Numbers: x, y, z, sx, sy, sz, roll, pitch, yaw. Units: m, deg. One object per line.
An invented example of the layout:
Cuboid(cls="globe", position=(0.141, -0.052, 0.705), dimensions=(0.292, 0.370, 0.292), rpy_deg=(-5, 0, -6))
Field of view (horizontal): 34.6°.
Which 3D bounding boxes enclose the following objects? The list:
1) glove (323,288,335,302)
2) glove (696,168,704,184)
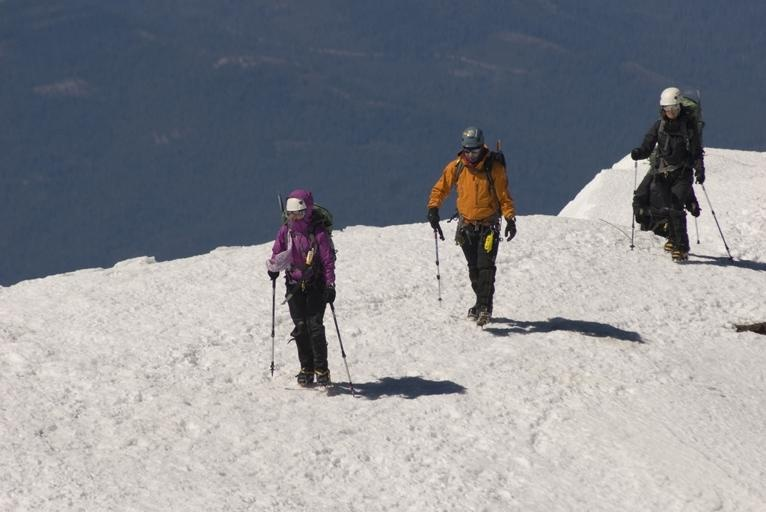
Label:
Cuboid(cls="glove", position=(-1.198, 0.838, 26.559), dimensions=(0.249, 0.348, 0.198), rpy_deg=(3, 11, 20))
Cuboid(cls="glove", position=(8.434, -2.087, 32.684), dimensions=(0.209, 0.454, 0.264), rpy_deg=(4, 41, 6))
